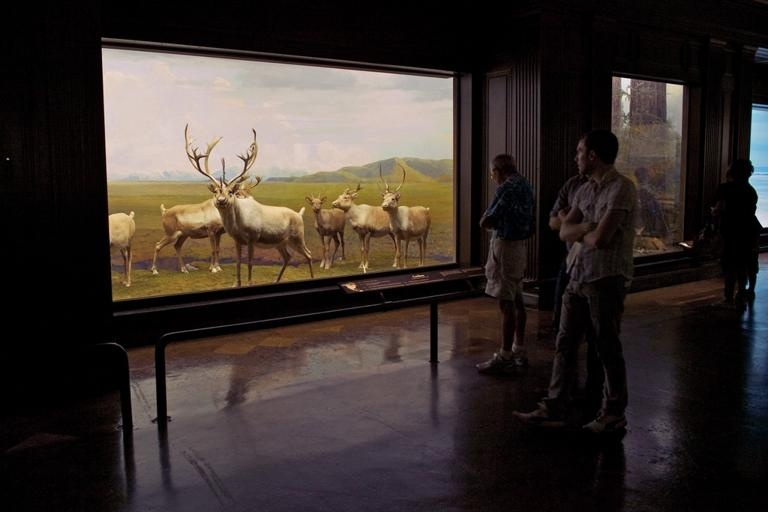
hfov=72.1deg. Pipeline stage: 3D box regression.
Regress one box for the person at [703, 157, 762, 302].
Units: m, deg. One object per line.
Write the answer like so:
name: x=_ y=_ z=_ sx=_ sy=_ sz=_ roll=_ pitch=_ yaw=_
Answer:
person: x=5.449 y=-0.372 z=8.200 sx=0.621 sy=2.196 sz=0.537 roll=9 pitch=17 yaw=35

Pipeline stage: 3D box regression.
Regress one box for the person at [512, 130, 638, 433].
person: x=1.837 y=0.241 z=4.672 sx=0.761 sy=2.615 sz=0.635 roll=5 pitch=15 yaw=25

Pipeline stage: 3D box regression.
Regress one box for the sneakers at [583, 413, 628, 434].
sneakers: x=1.995 y=1.509 z=4.793 sx=0.425 sy=0.173 sz=0.153 roll=0 pitch=1 yaw=-8

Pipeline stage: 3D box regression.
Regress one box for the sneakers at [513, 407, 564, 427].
sneakers: x=1.435 y=1.501 z=4.953 sx=0.447 sy=0.180 sz=0.160 roll=3 pitch=2 yaw=10

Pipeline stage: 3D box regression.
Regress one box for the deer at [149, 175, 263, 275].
deer: x=-2.598 y=-0.455 z=7.829 sx=1.611 sy=1.247 sz=0.642 roll=-4 pitch=1 yaw=3

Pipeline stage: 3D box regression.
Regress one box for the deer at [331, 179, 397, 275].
deer: x=-0.301 y=-0.437 z=9.108 sx=0.480 sy=1.236 sz=1.582 roll=-6 pitch=-5 yaw=41

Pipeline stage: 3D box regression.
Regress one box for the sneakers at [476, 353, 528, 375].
sneakers: x=1.313 y=1.188 z=5.996 sx=0.641 sy=0.282 sz=0.231 roll=-1 pitch=5 yaw=-2
